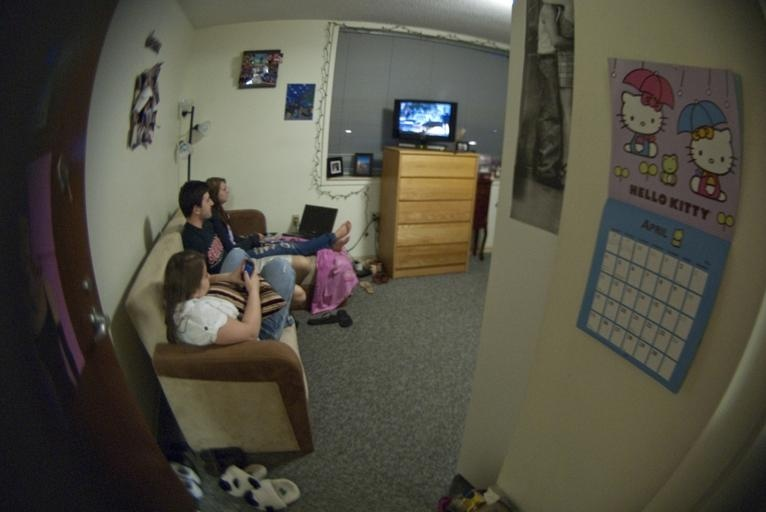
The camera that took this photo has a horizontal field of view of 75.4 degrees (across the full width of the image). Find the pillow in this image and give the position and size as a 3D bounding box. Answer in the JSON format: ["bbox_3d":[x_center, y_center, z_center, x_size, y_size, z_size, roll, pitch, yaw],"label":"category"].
[{"bbox_3d":[-0.402,0.133,1.458,0.129,0.042,0.131,16,11,-34],"label":"pillow"}]

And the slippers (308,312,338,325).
[{"bbox_3d":[-0.283,0.296,2.345,0.151,0.064,0.052,-3,14,-13],"label":"slippers"}]

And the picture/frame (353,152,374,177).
[{"bbox_3d":[-0.145,-0.649,3.502,0.186,0.235,0.023,-1,32,-12],"label":"picture/frame"}]

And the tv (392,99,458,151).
[{"bbox_3d":[0.302,-0.964,3.563,0.456,0.308,0.151,2,14,2],"label":"tv"}]

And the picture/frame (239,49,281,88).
[{"bbox_3d":[-0.184,-0.279,0.729,0.050,0.046,0.007,-7,26,-28],"label":"picture/frame"}]

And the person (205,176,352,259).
[{"bbox_3d":[-0.545,-0.136,2.489,0.819,0.431,0.321,0,9,-40],"label":"person"}]

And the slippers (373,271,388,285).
[{"bbox_3d":[-0.016,0.141,3.297,0.069,0.022,0.070,33,26,31],"label":"slippers"}]

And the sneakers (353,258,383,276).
[{"bbox_3d":[-0.108,0.071,3.495,0.114,0.061,0.160,-1,16,-11],"label":"sneakers"}]

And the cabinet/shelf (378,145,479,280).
[{"bbox_3d":[0.298,-0.303,3.395,0.760,1.090,0.395,-3,22,-24],"label":"cabinet/shelf"}]

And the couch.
[{"bbox_3d":[-0.304,0.087,1.071,0.276,0.257,0.628,4,26,-16],"label":"couch"}]
